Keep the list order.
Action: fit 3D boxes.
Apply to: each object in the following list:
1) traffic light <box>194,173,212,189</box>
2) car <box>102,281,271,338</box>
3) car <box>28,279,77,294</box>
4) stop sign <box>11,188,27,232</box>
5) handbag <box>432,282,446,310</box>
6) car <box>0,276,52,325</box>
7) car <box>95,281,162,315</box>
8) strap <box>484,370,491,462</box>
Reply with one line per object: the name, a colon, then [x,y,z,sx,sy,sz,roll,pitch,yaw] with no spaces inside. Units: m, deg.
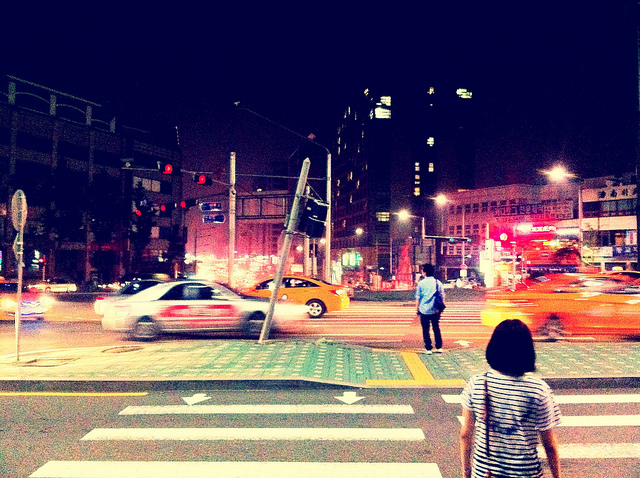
traffic light: [-4.235,-2.137,23.871,0.572,0.463,1.000,-1,-3,-1]
car: [-3.721,1.779,18.935,4.452,1.272,1.863,0,-3,-8]
car: [-18.760,3.328,46.626,3.211,1.045,1.325,8,-12,-39]
stop sign: [-6.757,-0.660,14.940,0.293,0.999,0.263,-8,30,-39]
handbag: [2.856,1.359,16.001,0.261,0.657,0.366,-1,-3,16]
car: [-10.612,2.207,23.427,1.938,1.455,1.642,-2,-3,21]
car: [-5.641,1.861,19.568,1.000,0.735,2.243,1,3,37]
strap: [2.050,2.186,8.165,0.073,1.084,0.062,1,-3,-35]
